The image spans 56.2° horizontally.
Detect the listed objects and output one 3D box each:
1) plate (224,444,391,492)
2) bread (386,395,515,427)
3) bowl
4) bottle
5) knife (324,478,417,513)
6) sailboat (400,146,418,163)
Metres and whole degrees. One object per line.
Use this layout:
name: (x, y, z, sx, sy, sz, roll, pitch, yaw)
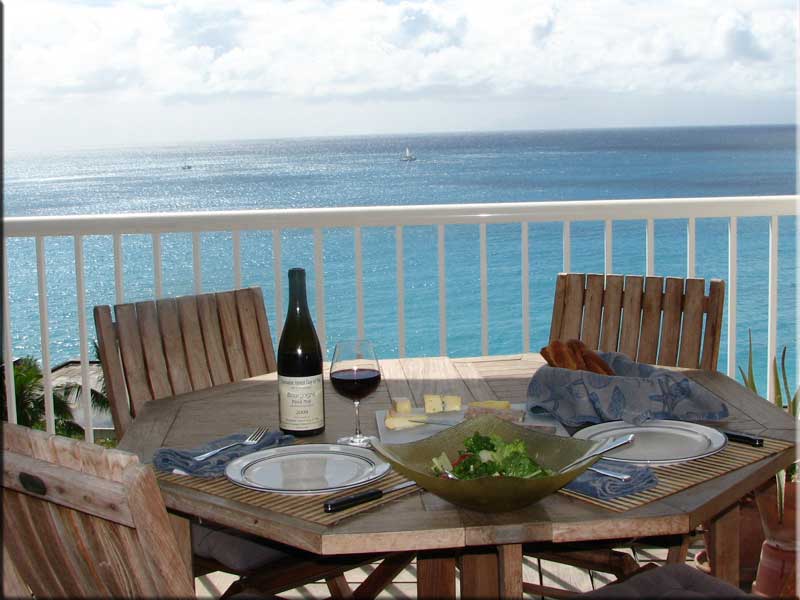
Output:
plate: (-0.170, 0.254, 1.260, 0.290, 0.061, 0.165, 0, 3, -34)
bread: (0.113, 0.216, 1.508, 0.232, 0.047, 0.199, 4, 9, 20)
bowl: (0.123, 0.210, 1.219, 0.372, 0.110, 0.290, -5, 8, -31)
bottle: (-0.188, 0.102, 1.426, 0.100, 0.315, 0.112, 3, 12, 1)
knife: (-0.050, 0.300, 1.146, 0.084, 0.028, 0.116, 1, 9, 27)
sailboat: (0.364, -6.017, 30.927, 0.566, 0.564, 0.533, -2, 20, -2)
